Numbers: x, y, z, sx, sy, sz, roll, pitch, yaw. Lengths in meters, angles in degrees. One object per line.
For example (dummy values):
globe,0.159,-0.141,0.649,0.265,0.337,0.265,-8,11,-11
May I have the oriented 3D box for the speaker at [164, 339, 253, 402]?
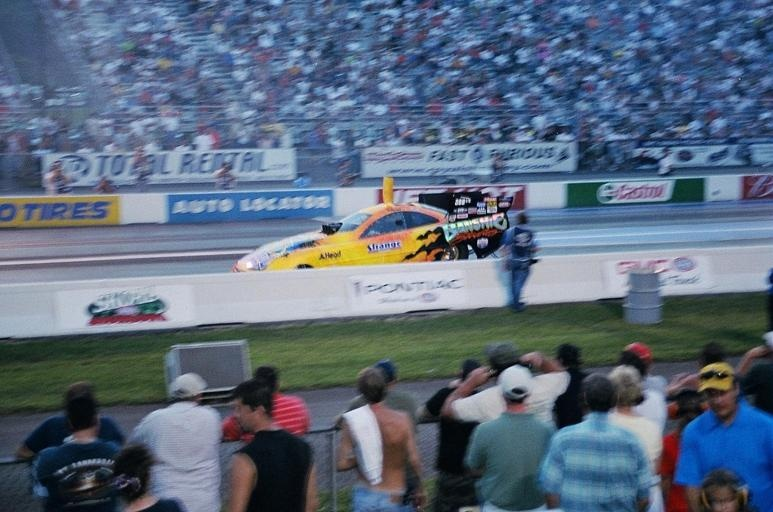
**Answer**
speaker,-3.105,2.120,18.642,2.414,0.840,1.416,0,2,-13
